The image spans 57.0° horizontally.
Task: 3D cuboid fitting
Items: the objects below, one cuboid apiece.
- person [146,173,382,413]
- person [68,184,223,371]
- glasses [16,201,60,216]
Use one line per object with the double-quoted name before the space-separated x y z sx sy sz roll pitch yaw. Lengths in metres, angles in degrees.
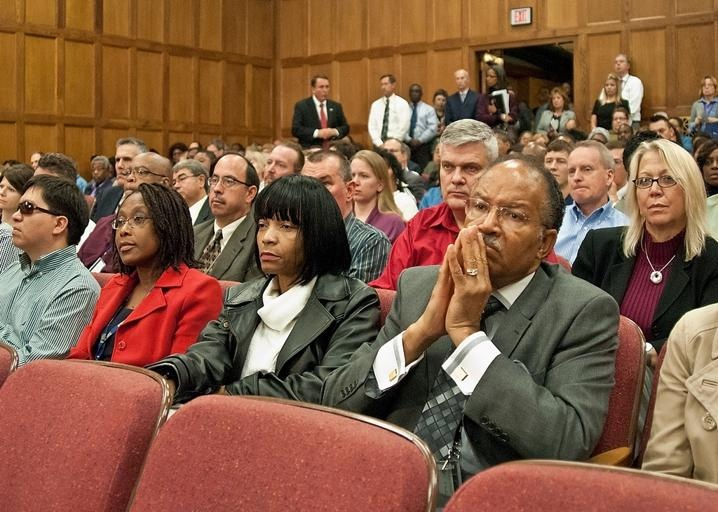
"person" -0.243 0.184 2.538 0.686 1.075 0.787 -1 -6 39
"person" -0.974 0.112 2.994 0.767 0.877 0.446 -2 -6 28
"glasses" -1.717 -0.245 3.504 0.113 0.036 0.093 13 -8 -37
